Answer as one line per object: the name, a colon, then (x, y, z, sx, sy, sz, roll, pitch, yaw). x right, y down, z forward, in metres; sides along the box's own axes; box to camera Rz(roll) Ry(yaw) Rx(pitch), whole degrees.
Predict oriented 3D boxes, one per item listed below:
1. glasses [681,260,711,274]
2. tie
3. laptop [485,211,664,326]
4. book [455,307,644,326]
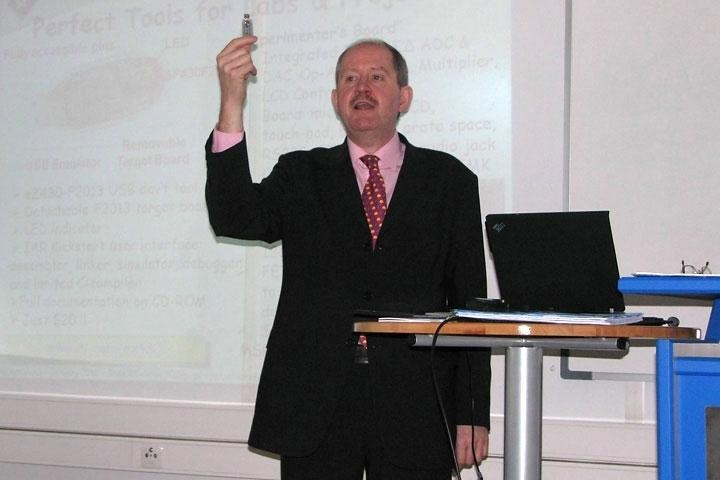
glasses: (1.544, 0.126, 4.186, 0.130, 0.055, 0.187, 0, 3, 20)
tie: (0.055, 0.024, 3.906, 0.094, 0.862, 0.119, 0, -14, -3)
laptop: (0.771, 0.075, 3.581, 0.529, 0.415, 0.455, -2, -7, 22)
book: (0.702, 0.286, 3.405, 0.710, 0.050, 0.244, 0, 3, 6)
